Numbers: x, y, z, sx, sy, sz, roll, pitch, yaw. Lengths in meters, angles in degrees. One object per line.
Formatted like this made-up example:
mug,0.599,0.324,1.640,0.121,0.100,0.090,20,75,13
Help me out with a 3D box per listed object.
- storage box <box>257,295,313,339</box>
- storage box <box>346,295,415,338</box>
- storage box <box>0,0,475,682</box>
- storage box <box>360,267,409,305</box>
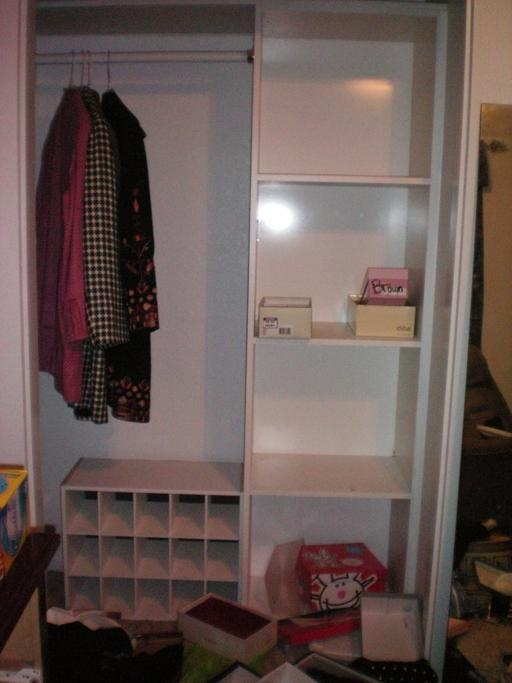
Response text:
storage box,0.085,-0.070,2.001,0.126,0.092,0.133,2,10,4
storage box,0.388,-0.068,2.054,0.112,0.077,0.172,0,9,-3
storage box,0.103,-0.041,2.187,1.094,2.018,0.567,1,8,13
storage box,0.406,-0.166,2.029,0.168,0.138,0.098,1,2,5
